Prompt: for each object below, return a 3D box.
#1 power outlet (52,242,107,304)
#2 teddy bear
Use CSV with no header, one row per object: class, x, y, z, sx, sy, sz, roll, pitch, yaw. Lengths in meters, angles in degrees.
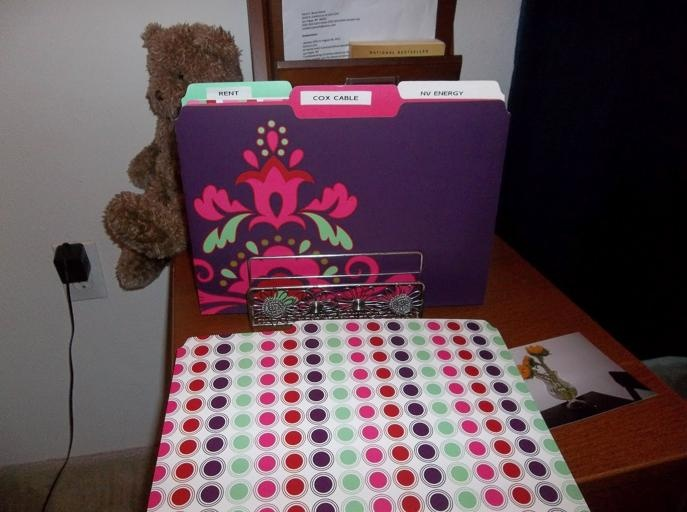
power outlet,-0.668,0.041,1.321,0.093,0.156,0.059,-8,40,-11
teddy bear,-0.311,-0.185,0.972,0.274,0.429,0.339,-8,40,-10
